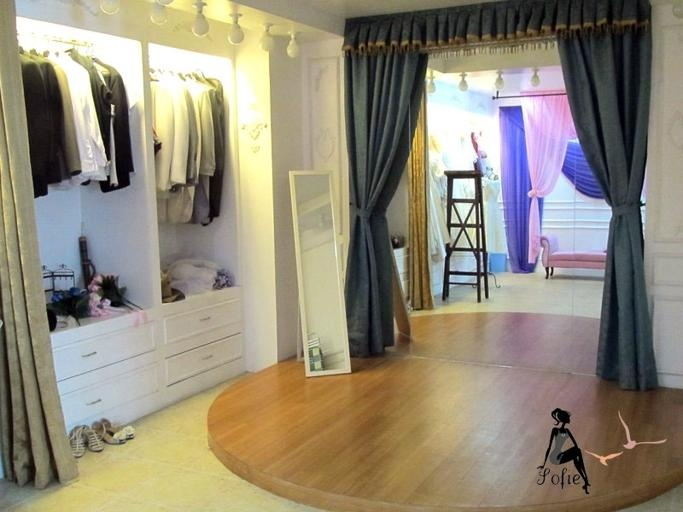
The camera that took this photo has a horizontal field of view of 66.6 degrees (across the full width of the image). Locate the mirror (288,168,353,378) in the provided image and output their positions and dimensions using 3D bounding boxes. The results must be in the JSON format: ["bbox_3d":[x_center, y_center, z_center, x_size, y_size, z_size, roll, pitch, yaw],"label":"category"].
[{"bbox_3d":[-0.186,0.143,4.974,0.415,2.267,0.752,2,6,30],"label":"mirror"}]

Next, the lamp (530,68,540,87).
[{"bbox_3d":[1.789,-1.630,4.787,0.077,0.163,0.096,-3,12,-7],"label":"lamp"}]

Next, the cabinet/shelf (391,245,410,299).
[{"bbox_3d":[0.713,0.193,6.094,0.237,0.622,0.109,-9,14,-34],"label":"cabinet/shelf"}]

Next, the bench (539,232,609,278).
[{"bbox_3d":[2.129,-0.023,4.776,0.549,0.367,0.507,3,5,26],"label":"bench"}]

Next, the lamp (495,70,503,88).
[{"bbox_3d":[1.496,-1.646,4.897,0.072,0.173,0.095,1,12,13],"label":"lamp"}]

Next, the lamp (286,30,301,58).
[{"bbox_3d":[-0.469,-1.997,4.969,0.116,0.240,0.467,-3,12,-5],"label":"lamp"}]

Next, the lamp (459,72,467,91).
[{"bbox_3d":[1.202,-1.697,5.097,0.085,0.179,0.132,1,12,14],"label":"lamp"}]

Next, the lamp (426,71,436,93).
[{"bbox_3d":[0.935,-1.803,5.416,0.057,0.231,0.151,-4,12,-13],"label":"lamp"}]

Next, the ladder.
[{"bbox_3d":[1.273,-0.183,5.374,0.167,1.369,0.638,-8,13,-29],"label":"ladder"}]
